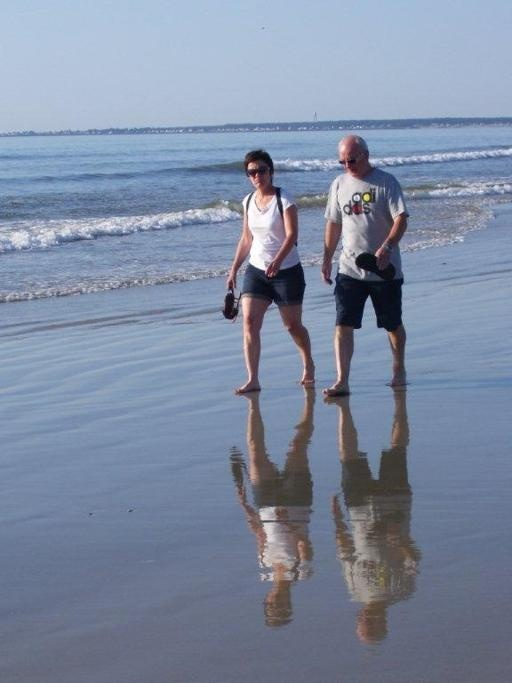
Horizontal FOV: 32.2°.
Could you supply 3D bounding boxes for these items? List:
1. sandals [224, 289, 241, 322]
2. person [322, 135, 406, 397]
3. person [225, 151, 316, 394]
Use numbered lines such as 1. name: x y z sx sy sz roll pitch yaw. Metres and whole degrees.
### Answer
1. sandals: -0.152 -0.241 5.924 0.074 0.188 0.118 -2 5 -43
2. person: 0.613 -0.420 5.120 0.489 1.497 0.494 -2 13 6
3. person: 0.087 -0.419 5.380 0.471 1.451 0.415 -2 13 4
